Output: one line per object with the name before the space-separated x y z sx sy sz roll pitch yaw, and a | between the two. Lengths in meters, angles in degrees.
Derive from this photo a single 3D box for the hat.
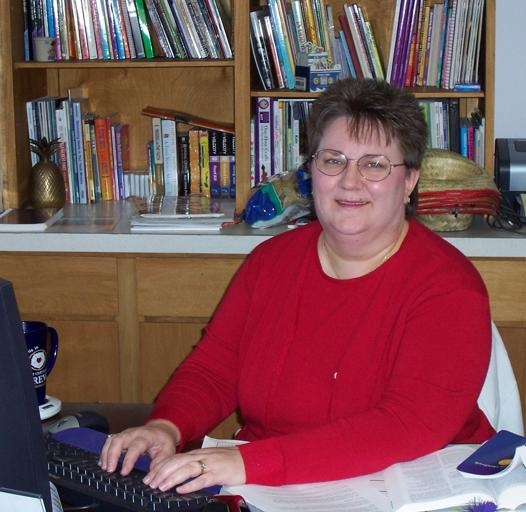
hat | 0.632 -0.215 1.781 0.298 0.150 0.321 7 4 -4

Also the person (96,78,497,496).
person | 0.153 0.015 1.264 0.910 0.787 0.635 2 3 -40

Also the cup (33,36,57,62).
cup | -0.842 -0.805 2.017 0.101 0.074 0.099 0 7 0

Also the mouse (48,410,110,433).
mouse | -0.314 0.282 0.881 0.077 0.024 0.042 12 -3 -26
